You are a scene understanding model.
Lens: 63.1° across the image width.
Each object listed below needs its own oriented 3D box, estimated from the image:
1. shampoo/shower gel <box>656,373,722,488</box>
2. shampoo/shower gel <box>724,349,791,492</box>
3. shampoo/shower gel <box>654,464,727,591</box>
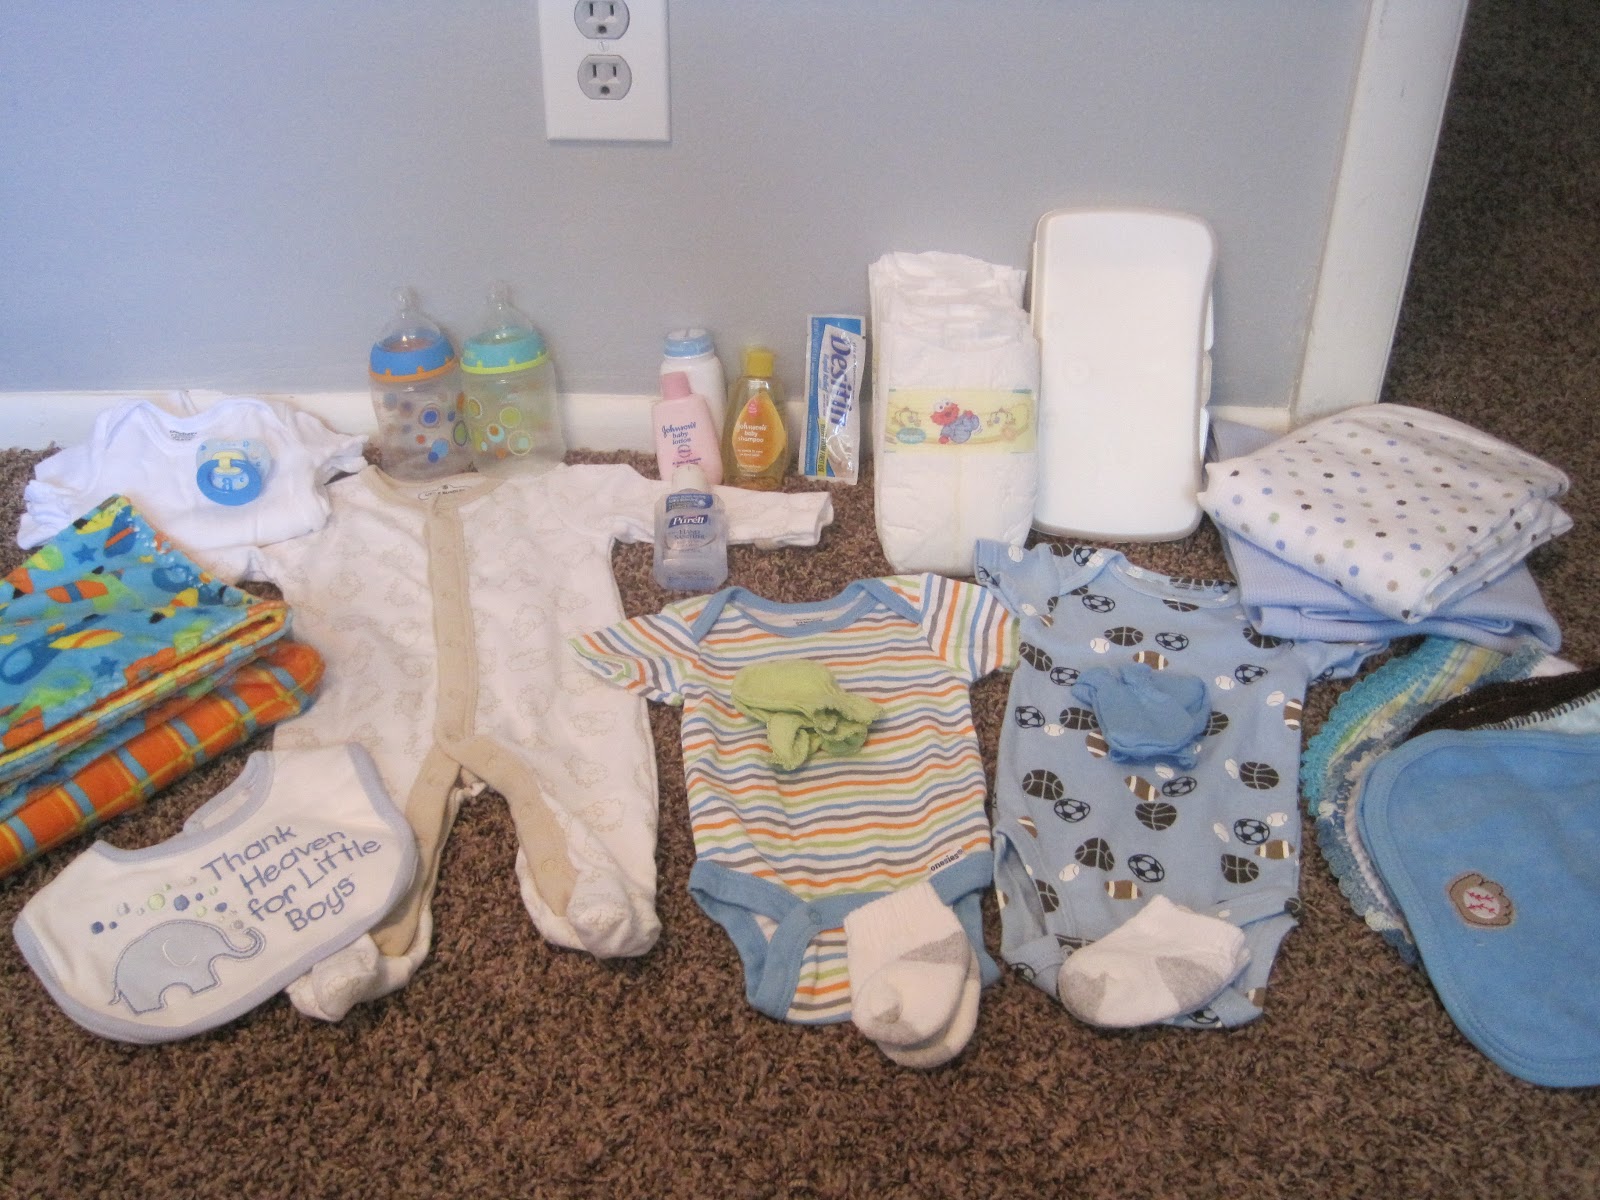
[{"bbox_3d":[-0.182,-0.263,2.163,0.103,0.195,0.110,-8,-11,-4],"label":"shampoo/shower gel"},{"bbox_3d":[-0.073,-0.303,2.159,0.110,0.221,0.078,-2,31,-1],"label":"shampoo/shower gel"},{"bbox_3d":[-0.175,-0.127,2.059,0.116,0.081,0.299,-2,56,-3],"label":"shampoo/shower gel"}]
